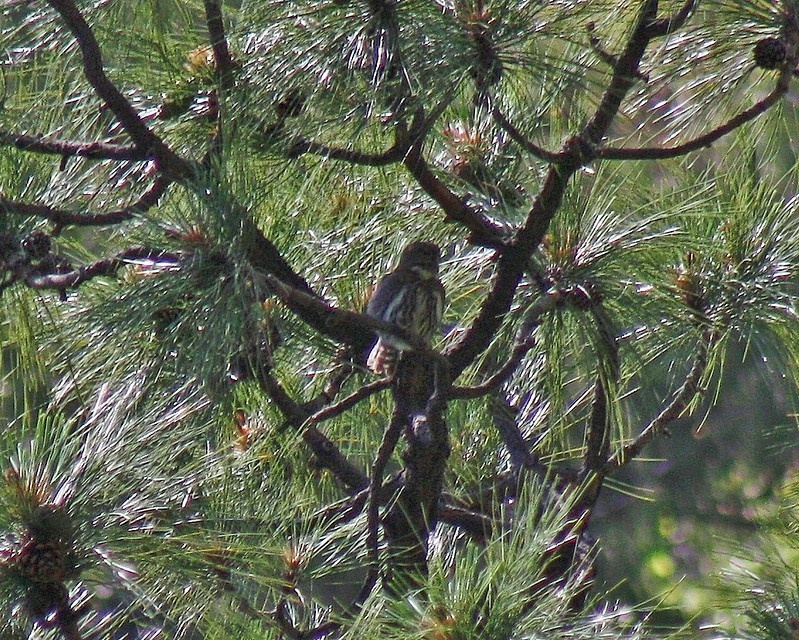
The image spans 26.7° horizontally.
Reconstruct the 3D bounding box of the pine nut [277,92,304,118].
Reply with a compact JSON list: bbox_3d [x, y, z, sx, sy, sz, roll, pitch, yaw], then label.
[{"bbox_3d":[-0.298,-0.594,4.637,0.064,0.031,0.076,-49,21,-26],"label":"pine nut"}]

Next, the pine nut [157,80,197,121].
[{"bbox_3d":[-0.612,-0.620,4.718,0.121,0.071,0.172,-25,13,-21],"label":"pine nut"}]

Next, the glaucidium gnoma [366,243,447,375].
[{"bbox_3d":[0.025,-0.033,5.520,0.171,0.408,0.323,17,-37,-27],"label":"glaucidium gnoma"}]

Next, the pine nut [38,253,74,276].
[{"bbox_3d":[-0.937,-0.151,4.580,0.062,0.064,0.031,22,-12,-28],"label":"pine nut"}]

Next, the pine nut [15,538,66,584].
[{"bbox_3d":[-0.861,0.584,4.064,0.099,0.101,0.058,-51,3,-26],"label":"pine nut"}]

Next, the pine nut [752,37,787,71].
[{"bbox_3d":[0.999,-0.722,4.549,0.068,0.089,0.078,0,6,-8],"label":"pine nut"}]

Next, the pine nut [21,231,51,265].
[{"bbox_3d":[-0.973,-0.198,4.521,0.056,0.085,0.075,-1,2,3],"label":"pine nut"}]

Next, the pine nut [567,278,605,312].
[{"bbox_3d":[0.513,-0.064,4.618,0.070,0.090,0.032,-9,8,7],"label":"pine nut"}]

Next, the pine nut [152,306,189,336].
[{"bbox_3d":[-0.620,-0.006,4.537,0.075,0.059,0.137,-23,12,-20],"label":"pine nut"}]

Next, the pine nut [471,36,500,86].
[{"bbox_3d":[0.224,-0.691,4.413,0.061,0.096,0.183,0,47,-3],"label":"pine nut"}]
